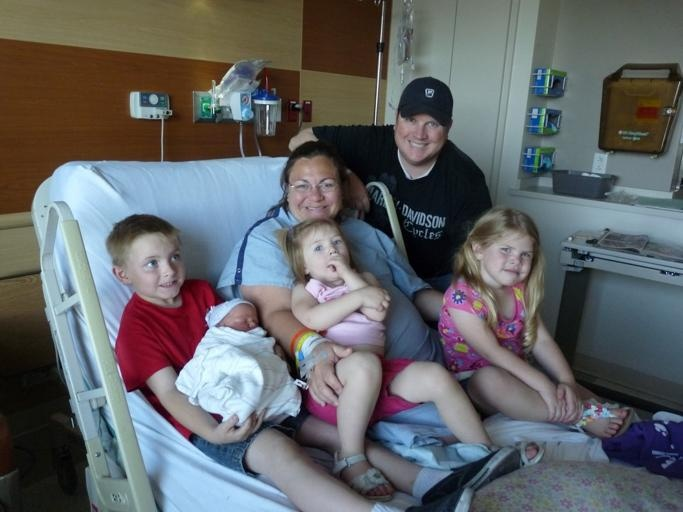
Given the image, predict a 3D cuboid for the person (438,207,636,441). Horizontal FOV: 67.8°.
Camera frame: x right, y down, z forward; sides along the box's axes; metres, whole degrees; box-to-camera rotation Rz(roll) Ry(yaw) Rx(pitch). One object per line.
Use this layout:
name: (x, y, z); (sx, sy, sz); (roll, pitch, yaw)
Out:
person: (0.672, 0.228, 1.848); (0.490, 0.761, 0.714); (-1, 1, -35)

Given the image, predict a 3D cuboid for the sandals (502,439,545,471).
sandals: (0.561, 0.615, 1.569); (0.108, 0.041, 0.084); (-13, 49, 0)

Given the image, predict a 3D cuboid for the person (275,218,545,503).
person: (0.065, 0.250, 1.716); (0.504, 0.935, 0.905); (-2, -11, -30)

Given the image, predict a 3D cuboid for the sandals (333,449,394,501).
sandals: (0.064, 0.647, 1.477); (0.086, 0.075, 0.175); (-13, 20, -40)

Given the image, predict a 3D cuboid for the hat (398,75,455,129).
hat: (0.402, -0.755, 2.412); (0.260, 0.198, 0.352); (16, 22, 16)

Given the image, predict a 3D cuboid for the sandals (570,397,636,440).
sandals: (0.886, 0.572, 1.739); (0.068, 0.137, 0.136); (24, -21, -28)
